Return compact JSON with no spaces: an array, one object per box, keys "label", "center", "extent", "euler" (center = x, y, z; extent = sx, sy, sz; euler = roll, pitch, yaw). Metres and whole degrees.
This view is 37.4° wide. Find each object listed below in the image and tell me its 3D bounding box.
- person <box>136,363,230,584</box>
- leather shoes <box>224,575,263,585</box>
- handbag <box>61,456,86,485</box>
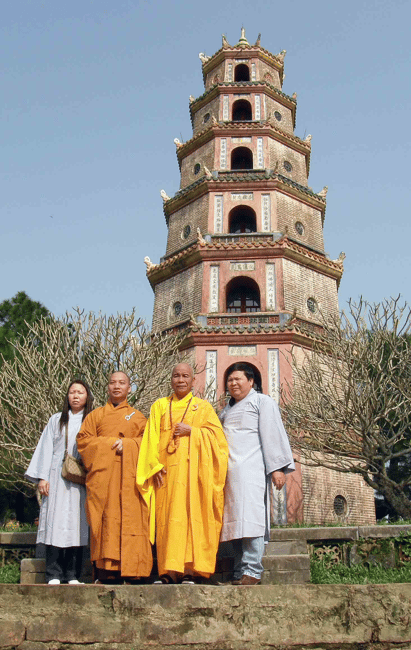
[{"label":"person","center":[-0.175,0.979,4.226],"extent":[0.538,1.457,0.535],"euler":[14,-21,-42]},{"label":"leather shoes","center":[0.225,1.622,3.806],"extent":[0.220,0.080,0.087],"euler":[3,-36,-2]},{"label":"handbag","center":[-0.956,1.065,4.402],"extent":[0.071,0.145,0.198],"euler":[-23,-45,30]}]
